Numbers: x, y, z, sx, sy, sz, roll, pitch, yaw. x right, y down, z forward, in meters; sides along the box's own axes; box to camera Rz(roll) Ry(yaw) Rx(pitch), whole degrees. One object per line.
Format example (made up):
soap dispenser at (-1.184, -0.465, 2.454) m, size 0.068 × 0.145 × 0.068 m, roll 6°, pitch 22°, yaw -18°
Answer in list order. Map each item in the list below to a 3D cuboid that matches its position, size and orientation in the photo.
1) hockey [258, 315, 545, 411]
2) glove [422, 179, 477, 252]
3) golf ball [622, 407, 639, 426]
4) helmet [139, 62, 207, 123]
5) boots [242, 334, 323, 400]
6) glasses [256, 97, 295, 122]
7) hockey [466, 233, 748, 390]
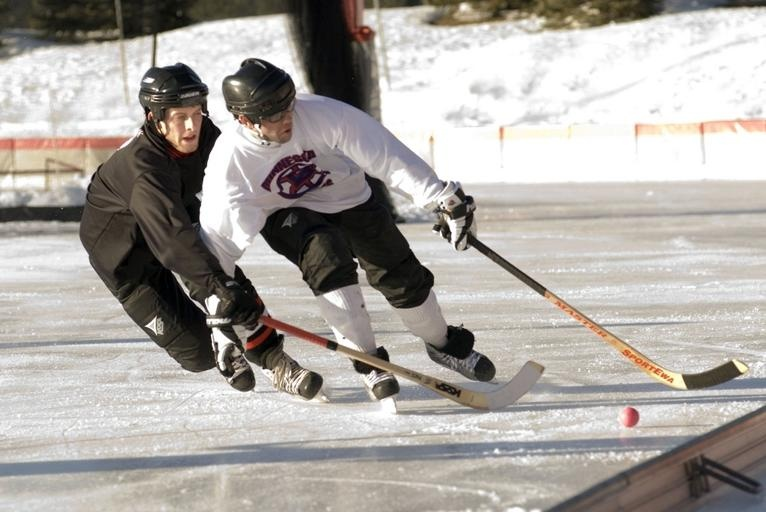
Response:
hockey at (0.113, 0.713, 6.757) m, size 1.596 × 0.144 × 0.374 m, roll 10°, pitch 48°, yaw 1°
glove at (0.471, -0.207, 6.652) m, size 0.246 × 0.428 × 0.301 m, roll -12°, pitch 64°, yaw -10°
golf ball at (1.443, 0.942, 6.195) m, size 0.099 × 0.101 × 0.106 m, roll -9°, pitch 18°, yaw 3°
helmet at (-1.268, -0.994, 6.553) m, size 0.481 × 0.304 × 0.343 m, roll -9°, pitch 10°, yaw 18°
boots at (-0.624, 0.754, 6.730) m, size 0.188 × 0.385 × 0.525 m, roll 24°, pitch 0°, yaw 41°
glasses at (-0.646, -0.836, 6.332) m, size 0.183 × 0.042 × 0.166 m, roll -18°, pitch 12°, yaw 33°
hockey at (1.322, 0.306, 7.041) m, size 0.317 × 0.323 × 2.481 m, roll -49°, pitch 48°, yaw -9°
